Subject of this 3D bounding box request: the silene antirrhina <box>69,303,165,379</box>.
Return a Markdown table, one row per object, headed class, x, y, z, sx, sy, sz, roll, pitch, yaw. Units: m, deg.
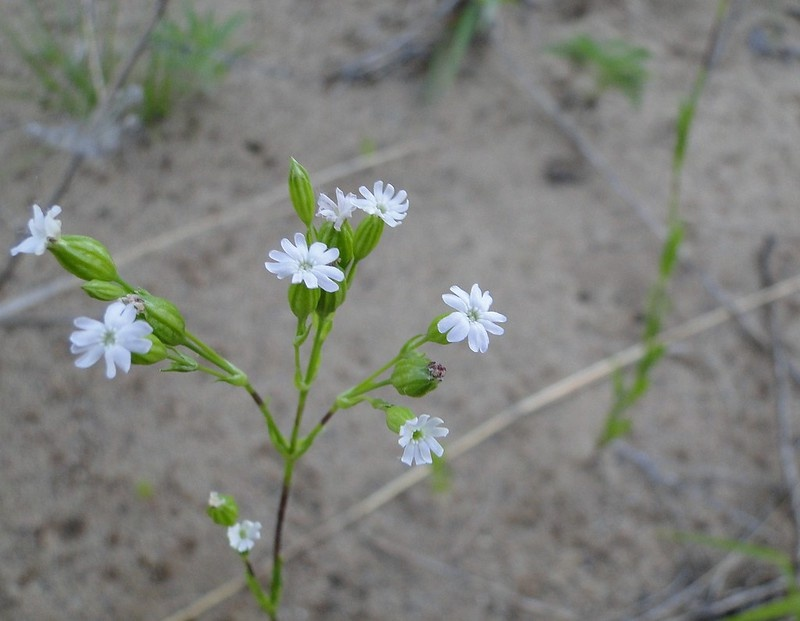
| class | x | y | z | sx | sy | sz | roll | pitch | yaw |
| --- | --- | --- | --- | --- | --- | --- | --- | --- | --- |
| silene antirrhina | -0.358 | 0.037 | 1.154 | 0.087 | 0.046 | 0.098 | 43 | 77 | 7 |
